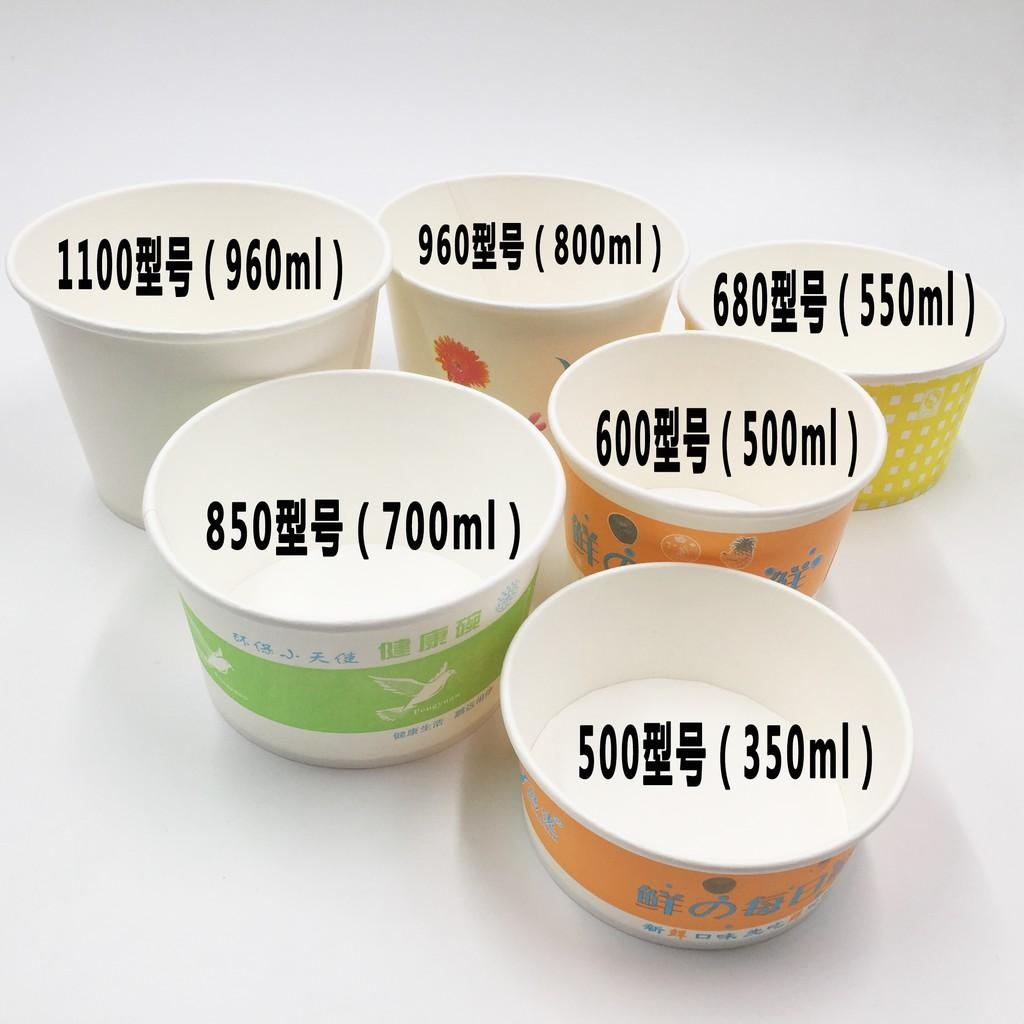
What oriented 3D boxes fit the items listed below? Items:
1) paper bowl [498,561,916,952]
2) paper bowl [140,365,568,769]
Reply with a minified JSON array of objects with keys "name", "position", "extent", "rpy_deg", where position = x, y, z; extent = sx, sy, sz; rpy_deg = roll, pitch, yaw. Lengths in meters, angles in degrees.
[{"name":"paper bowl","position":[0.190,0.262,1.050],"extent":[0.402,0.292,0.375],"rpy_deg":[2,23,-1]},{"name":"paper bowl","position":[-0.171,0.047,1.222],"extent":[0.441,0.297,0.444],"rpy_deg":[6,45,-6]}]
